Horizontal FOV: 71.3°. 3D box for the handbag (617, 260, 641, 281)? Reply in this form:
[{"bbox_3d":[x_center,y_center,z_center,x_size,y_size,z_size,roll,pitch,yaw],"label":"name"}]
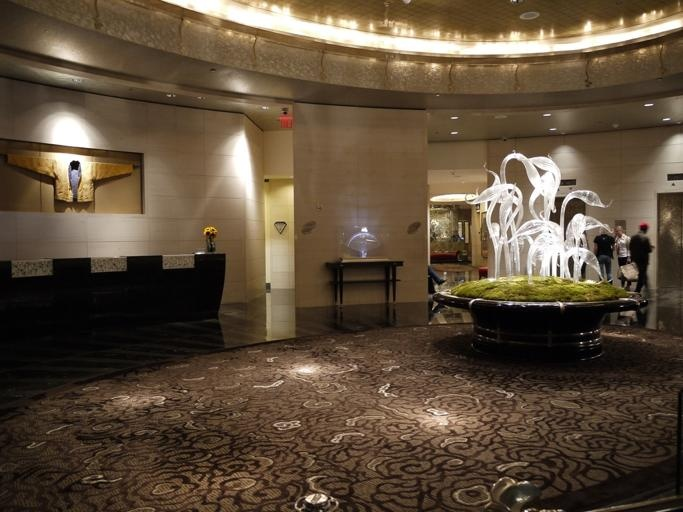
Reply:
[{"bbox_3d":[6.756,0.386,11.256,0.705,0.624,0.424,-1,-8,31],"label":"handbag"}]

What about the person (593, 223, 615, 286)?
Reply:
[{"bbox_3d":[6.472,-0.040,11.670,0.461,1.255,1.608,2,6,28],"label":"person"}]
